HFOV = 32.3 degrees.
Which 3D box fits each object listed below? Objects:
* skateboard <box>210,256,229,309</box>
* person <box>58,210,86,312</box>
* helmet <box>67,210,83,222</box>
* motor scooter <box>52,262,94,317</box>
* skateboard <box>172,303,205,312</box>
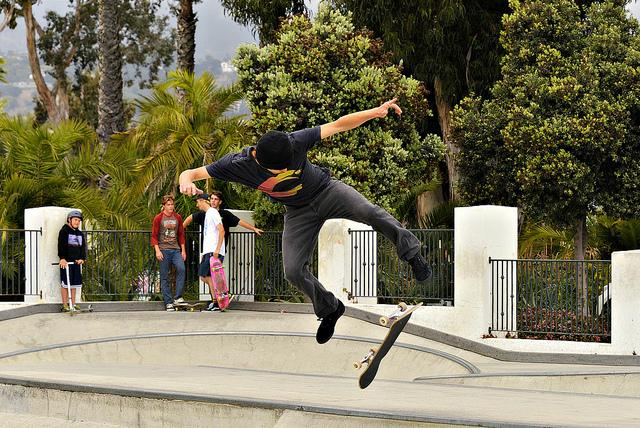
[{"bbox_3d":[-2.907,2.035,32.114,0.393,1.666,0.227,-14,20,-30],"label":"skateboard"},{"bbox_3d":[-7.141,1.385,31.844,0.764,2.898,0.460,1,-3,-13],"label":"person"},{"bbox_3d":[-7.093,0.069,31.918,0.438,0.334,0.390,0,-3,0],"label":"helmet"},{"bbox_3d":[-6.936,2.200,31.986,0.740,1.563,0.693,1,-3,-11],"label":"motor scooter"},{"bbox_3d":[-3.850,2.780,32.652,1.009,0.205,0.298,-3,-4,9],"label":"skateboard"}]
